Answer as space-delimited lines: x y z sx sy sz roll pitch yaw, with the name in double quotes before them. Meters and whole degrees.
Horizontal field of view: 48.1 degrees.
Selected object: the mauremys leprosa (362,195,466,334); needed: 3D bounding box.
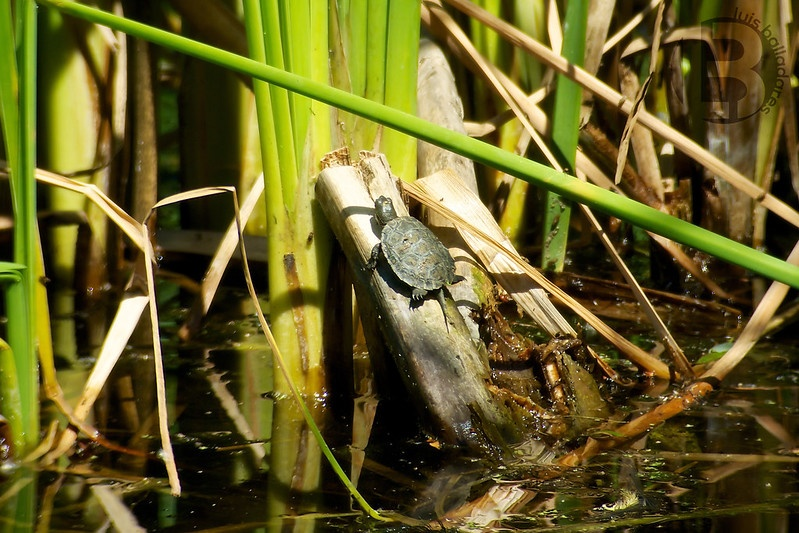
"mauremys leprosa" 0.075 -0.025 3.966 0.410 0.208 0.694 -13 45 -30
